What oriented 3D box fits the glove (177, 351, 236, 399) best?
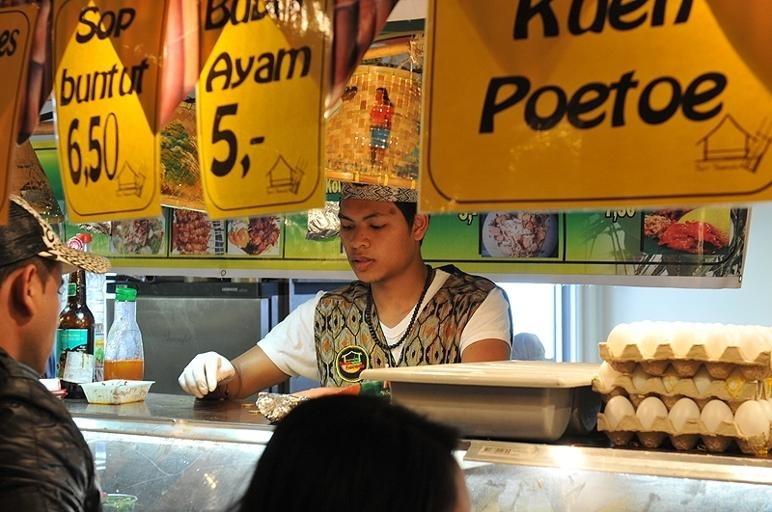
[{"bbox_3d":[-0.772,0.508,2.715,0.207,0.183,0.252,1,-2,-7],"label":"glove"}]
